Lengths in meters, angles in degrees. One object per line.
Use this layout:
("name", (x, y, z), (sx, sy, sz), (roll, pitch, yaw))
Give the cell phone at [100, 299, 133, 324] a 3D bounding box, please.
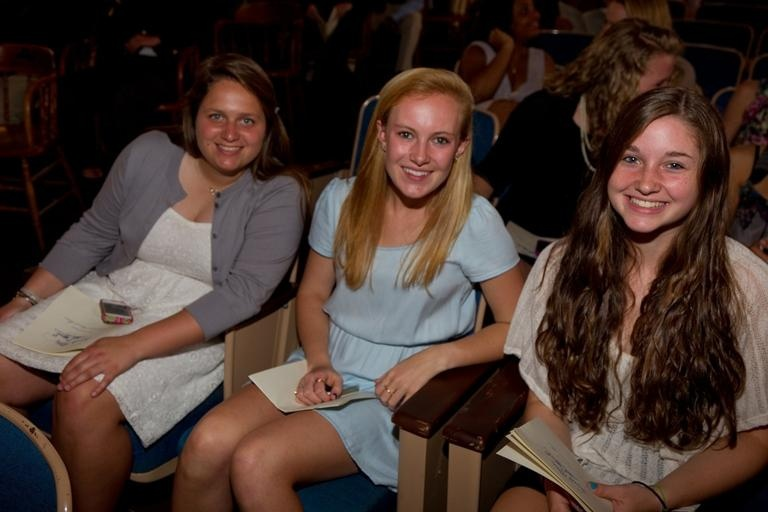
("cell phone", (-1.090, 0.230, 2.375), (0.109, 0.031, 0.110), (7, 32, -30))
